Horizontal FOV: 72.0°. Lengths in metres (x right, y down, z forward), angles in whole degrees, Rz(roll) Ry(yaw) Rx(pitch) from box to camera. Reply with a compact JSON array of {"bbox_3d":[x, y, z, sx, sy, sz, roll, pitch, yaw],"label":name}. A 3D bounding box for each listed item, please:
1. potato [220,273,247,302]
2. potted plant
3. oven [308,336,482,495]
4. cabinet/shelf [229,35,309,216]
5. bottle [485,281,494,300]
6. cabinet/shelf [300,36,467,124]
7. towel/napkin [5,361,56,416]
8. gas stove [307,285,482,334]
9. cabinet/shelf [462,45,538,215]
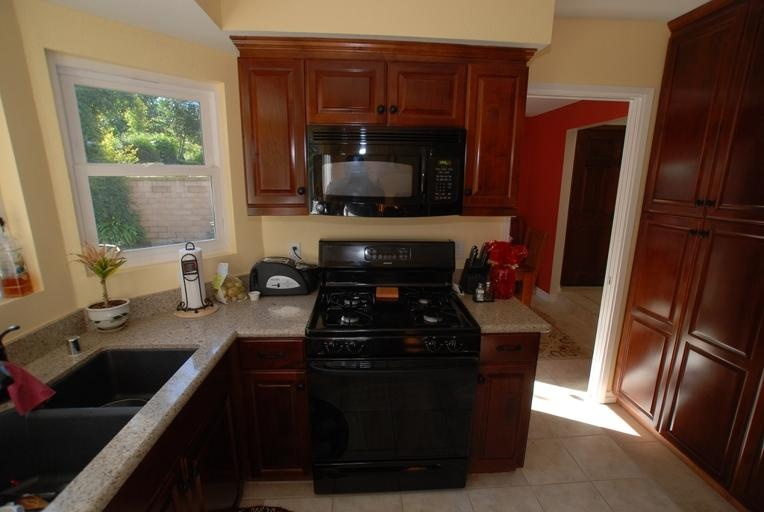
[{"bbox_3d":[-0.991,0.210,3.516,0.129,0.164,0.150,3,-24,-21],"label":"potato"},{"bbox_3d":[-1.675,0.176,3.195,0.288,0.513,0.255,-11,18,-29],"label":"potted plant"},{"bbox_3d":[0.013,1.034,3.625,1.178,1.019,0.930,1,-1,-20],"label":"oven"},{"bbox_3d":[-0.696,-0.780,3.456,0.467,0.978,0.228,1,13,4],"label":"cabinet/shelf"},{"bbox_3d":[0.731,0.238,3.571,0.056,0.114,0.102,1,15,10],"label":"bottle"},{"bbox_3d":[0.023,-1.075,3.484,1.057,0.455,0.368,0,7,-6],"label":"cabinet/shelf"},{"bbox_3d":[-1.804,0.666,2.701,0.183,0.260,0.142,-13,19,-35],"label":"towel/napkin"},{"bbox_3d":[0.067,0.335,3.409,1.040,0.160,0.519,-2,14,-1],"label":"gas stove"},{"bbox_3d":[0.736,-0.768,3.414,0.390,0.974,0.182,-1,16,4],"label":"cabinet/shelf"}]
